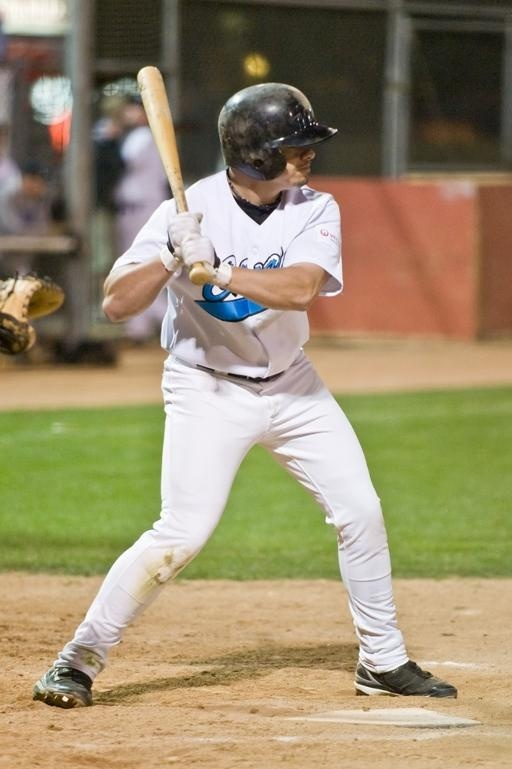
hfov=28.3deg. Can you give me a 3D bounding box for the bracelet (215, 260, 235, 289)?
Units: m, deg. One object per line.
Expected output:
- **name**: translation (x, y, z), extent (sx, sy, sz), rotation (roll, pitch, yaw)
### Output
- **bracelet**: translation (-0.075, -0.246, 2.245), extent (0.045, 0.047, 0.021), rotation (-1, -13, 0)

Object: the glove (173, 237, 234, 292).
- **glove**: translation (-0.116, -0.283, 2.251), extent (0.145, 0.045, 0.134), rotation (-1, 47, -33)

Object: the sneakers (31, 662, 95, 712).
- **sneakers**: translation (-0.469, 0.730, 2.488), extent (0.150, 0.073, 0.066), rotation (13, 65, 47)

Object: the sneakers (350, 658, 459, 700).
- **sneakers**: translation (0.381, 0.757, 2.618), extent (0.274, 0.087, 0.089), rotation (0, -11, 8)

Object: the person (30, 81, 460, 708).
- **person**: translation (-0.030, 0.002, 2.538), extent (0.862, 1.573, 0.520), rotation (1, 2, -30)

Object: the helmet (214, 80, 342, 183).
- **helmet**: translation (0.065, -0.637, 2.498), extent (0.318, 0.194, 0.216), rotation (3, 28, 17)
